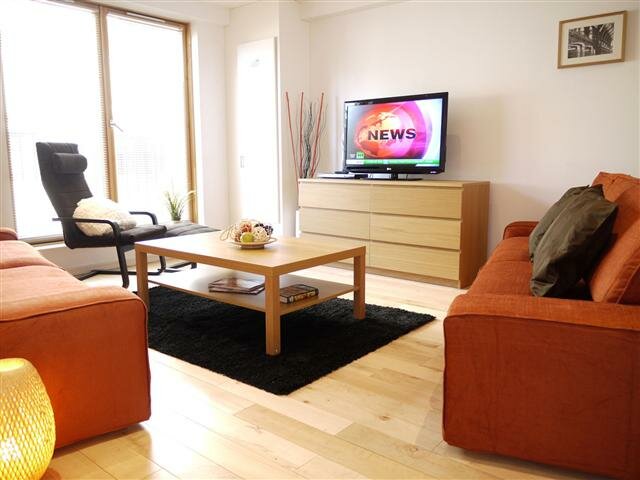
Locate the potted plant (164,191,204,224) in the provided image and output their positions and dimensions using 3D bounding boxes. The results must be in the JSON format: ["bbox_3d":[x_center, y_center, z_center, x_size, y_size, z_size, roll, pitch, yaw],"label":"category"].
[{"bbox_3d":[-1.646,-0.360,5.226,0.354,0.281,0.387,-8,-1,-1],"label":"potted plant"}]

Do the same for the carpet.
[{"bbox_3d":[-0.490,0.599,3.456,2.146,0.024,1.475,3,11,42],"label":"carpet"}]

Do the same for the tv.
[{"bbox_3d":[0.750,-1.025,4.743,1.218,0.803,0.272,9,18,41],"label":"tv"}]

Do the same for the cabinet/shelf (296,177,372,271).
[{"bbox_3d":[0.160,-0.220,5.074,0.958,0.795,0.331,-1,11,-30],"label":"cabinet/shelf"}]

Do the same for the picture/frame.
[{"bbox_3d":[2.290,-1.668,3.838,0.608,0.407,0.021,5,8,39],"label":"picture/frame"}]

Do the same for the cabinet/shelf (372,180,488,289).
[{"bbox_3d":[1.058,-0.065,4.266,1.041,0.869,0.566,4,7,38],"label":"cabinet/shelf"}]

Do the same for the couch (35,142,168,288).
[{"bbox_3d":[-2.036,-0.250,4.385,1.071,1.203,0.713,8,12,10],"label":"couch"}]
